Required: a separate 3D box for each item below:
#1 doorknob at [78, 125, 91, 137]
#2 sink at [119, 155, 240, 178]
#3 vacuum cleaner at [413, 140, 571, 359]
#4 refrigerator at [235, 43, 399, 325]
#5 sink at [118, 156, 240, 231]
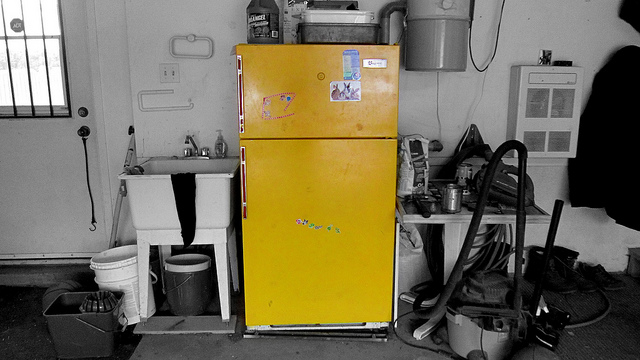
[{"bbox_3d":[-2.566,-0.530,5.920,0.135,0.112,0.043,-2,15,-3],"label":"doorknob"},{"bbox_3d":[-1.382,-0.147,5.680,0.572,0.173,0.432,2,11,-3],"label":"sink"},{"bbox_3d":[1.729,0.625,5.178,1.178,2.073,1.184,8,18,31],"label":"vacuum cleaner"},{"bbox_3d":[-0.004,0.070,5.222,1.501,2.685,0.522,-1,16,5],"label":"refrigerator"},{"bbox_3d":[-1.370,0.112,5.585,1.123,0.616,0.702,-2,15,-3],"label":"sink"}]
